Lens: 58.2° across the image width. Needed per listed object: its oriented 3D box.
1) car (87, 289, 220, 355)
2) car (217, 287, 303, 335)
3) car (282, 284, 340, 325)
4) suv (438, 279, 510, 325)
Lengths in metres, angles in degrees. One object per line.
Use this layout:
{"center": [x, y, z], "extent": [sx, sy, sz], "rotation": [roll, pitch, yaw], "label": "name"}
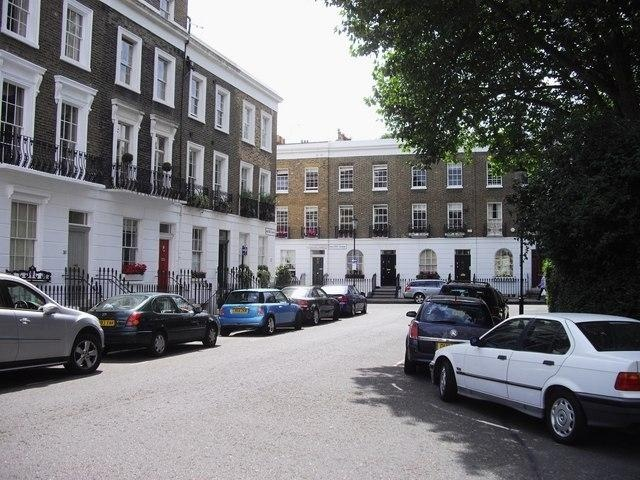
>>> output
{"center": [-4.803, 2.428, 17.137], "extent": [1.780, 1.837, 4.301], "rotation": [1, 1, 26], "label": "car"}
{"center": [-2.177, 2.736, 22.118], "extent": [1.450, 1.750, 3.246], "rotation": [2, 1, 42], "label": "car"}
{"center": [-0.386, 2.920, 26.611], "extent": [1.214, 1.077, 2.864], "rotation": [-2, -1, 23], "label": "car"}
{"center": [5.154, 1.867, 18.509], "extent": [1.239, 1.206, 2.958], "rotation": [-3, -16, 22], "label": "suv"}
